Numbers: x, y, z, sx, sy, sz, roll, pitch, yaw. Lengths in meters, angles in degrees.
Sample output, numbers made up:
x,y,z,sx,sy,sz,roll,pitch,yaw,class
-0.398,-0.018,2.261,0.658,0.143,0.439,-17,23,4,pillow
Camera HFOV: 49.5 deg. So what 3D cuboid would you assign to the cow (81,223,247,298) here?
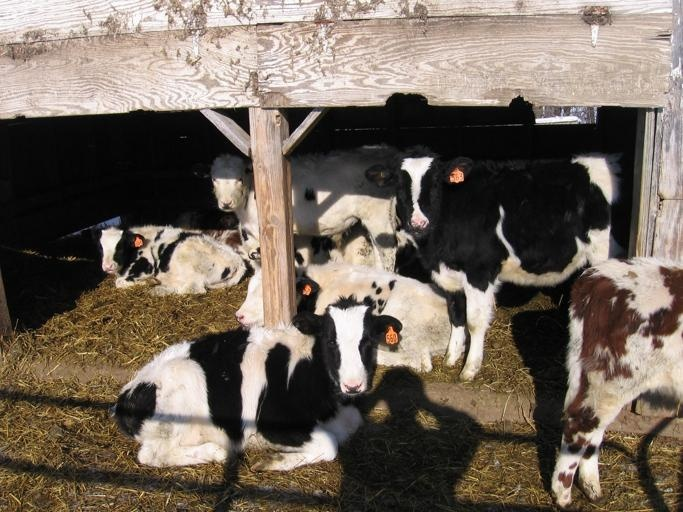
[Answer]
x,y,z,sx,sy,sz,roll,pitch,yaw,class
-2.511,0.052,10.564,1.820,0.800,0.974,12,9,19,cow
